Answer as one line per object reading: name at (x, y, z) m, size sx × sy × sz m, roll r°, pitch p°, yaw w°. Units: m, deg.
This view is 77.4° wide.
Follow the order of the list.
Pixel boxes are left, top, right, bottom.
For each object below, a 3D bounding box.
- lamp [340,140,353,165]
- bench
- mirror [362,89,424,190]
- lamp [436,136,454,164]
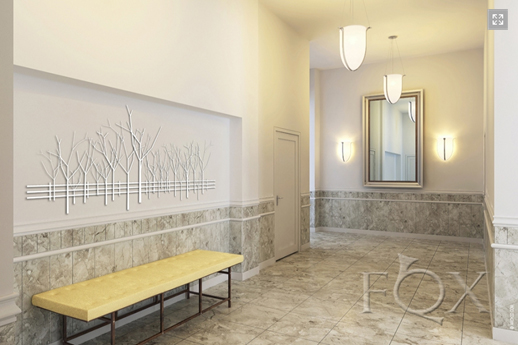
lamp at (2.643, -0.623, 9.792) m, size 0.388 × 0.681 × 0.115 m, roll 1°, pitch 4°, yaw 14°
bench at (-1.442, 1.678, 4.092) m, size 0.823 × 0.790 × 2.199 m, roll 3°, pitch 4°, yaw 40°
mirror at (3.749, -0.925, 9.172) m, size 0.118 × 2.750 × 1.736 m, roll -8°, pitch 8°, yaw -41°
lamp at (4.963, -0.617, 8.625) m, size 0.440 × 0.680 × 0.110 m, roll 2°, pitch 5°, yaw 31°
